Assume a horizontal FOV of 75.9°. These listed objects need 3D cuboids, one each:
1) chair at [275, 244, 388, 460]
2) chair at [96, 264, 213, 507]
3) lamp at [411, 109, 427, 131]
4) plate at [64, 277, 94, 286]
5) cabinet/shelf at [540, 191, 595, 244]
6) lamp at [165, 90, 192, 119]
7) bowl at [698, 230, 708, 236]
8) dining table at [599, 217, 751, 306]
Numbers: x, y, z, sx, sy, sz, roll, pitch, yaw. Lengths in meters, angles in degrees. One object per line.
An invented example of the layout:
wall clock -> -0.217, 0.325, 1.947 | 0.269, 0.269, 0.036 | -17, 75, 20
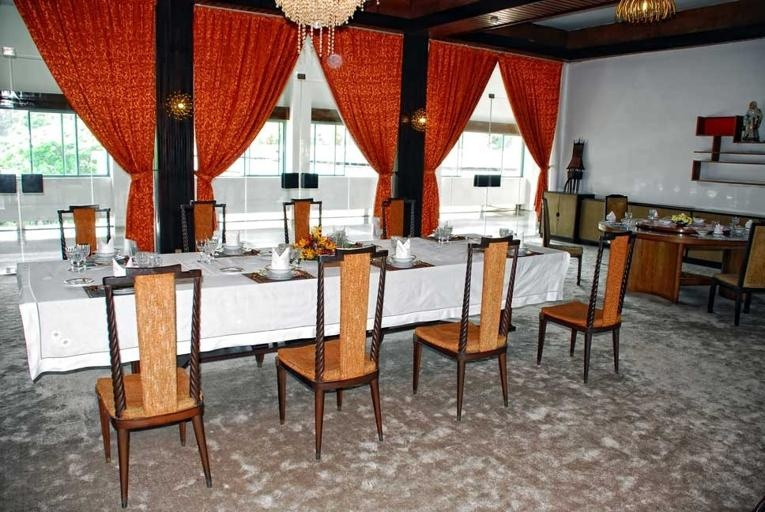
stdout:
chair -> -0.393, 0.633, 3.527 | 0.767, 1.442, 0.590 | -1, 11, 4
chair -> -1.488, 0.739, 3.191 | 0.651, 1.455, 0.722 | -8, 13, -30
lamp -> 0.651, -2.453, 8.842 | 0.348, 0.344, 0.111 | -10, 12, -39
plate -> -2.257, 0.181, 3.672 | 0.207, 0.028, 0.280 | -6, 11, -23
cabinet/shelf -> 3.877, -0.808, 10.159 | 0.456, 1.092, 1.164 | -4, 10, -28
lamp -> -2.860, -2.126, 6.893 | 0.340, 0.339, 0.091 | -9, 14, -31
bowl -> 4.322, -0.322, 6.620 | 0.106, 0.043, 0.106 | -1, 4, 0
dining table -> 3.928, 0.110, 7.017 | 1.610, 0.777, 1.578 | -3, 14, -23
